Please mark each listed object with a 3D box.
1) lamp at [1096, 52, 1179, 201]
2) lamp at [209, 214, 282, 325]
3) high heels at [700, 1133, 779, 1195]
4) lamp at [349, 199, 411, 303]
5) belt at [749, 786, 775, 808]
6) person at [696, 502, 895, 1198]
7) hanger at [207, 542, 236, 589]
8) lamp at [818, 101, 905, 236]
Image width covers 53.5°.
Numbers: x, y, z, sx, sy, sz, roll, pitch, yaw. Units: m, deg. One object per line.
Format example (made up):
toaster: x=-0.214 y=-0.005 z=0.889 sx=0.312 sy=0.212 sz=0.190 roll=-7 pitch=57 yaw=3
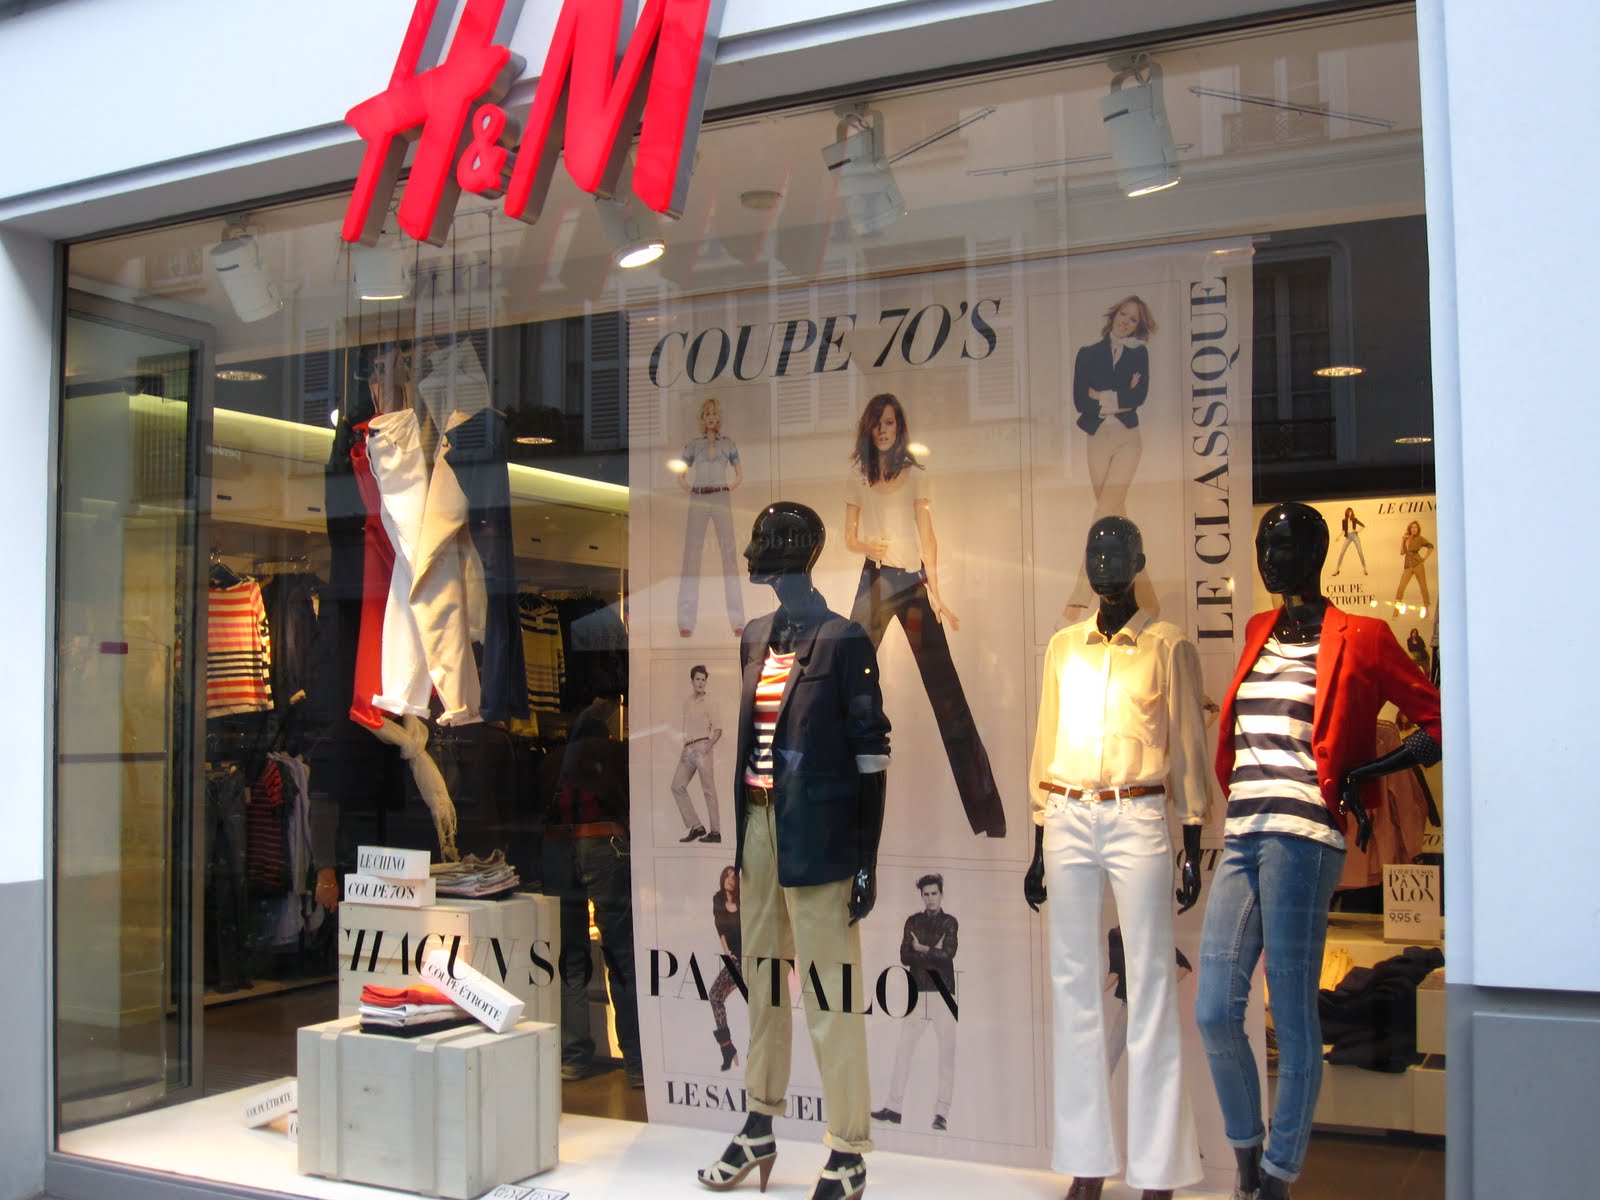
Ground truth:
lamp: x=0.848 y=-1.188 z=3.902 sx=0.146 sy=0.365 sz=0.159 roll=-12 pitch=8 yaw=-36
lamp: x=-1.671 y=-1.013 z=4.791 sx=0.204 sy=0.277 sz=0.158 roll=-15 pitch=22 yaw=36
high heels: x=-0.154 y=1.506 z=4.225 sx=0.192 sy=0.145 sz=0.114 roll=-1 pitch=-16 yaw=11
lamp: x=-1.199 y=-1.013 z=4.588 sx=0.191 sy=0.222 sz=0.210 roll=0 pitch=-10 yaw=-10
belt: x=-0.096 y=0.522 z=4.218 sx=0.054 sy=0.033 sz=0.073 roll=0 pitch=2 yaw=4
person: x=-0.009 y=0.646 z=4.226 sx=0.505 sy=1.831 sz=0.130 roll=-2 pitch=-3 yaw=23
hanger: x=-1.802 y=-0.102 z=4.930 sx=0.109 sy=0.127 sz=0.027 roll=-3 pitch=-3 yaw=27
lamp: x=0.165 y=-1.105 z=4.098 sx=0.181 sy=0.308 sz=0.093 roll=-3 pitch=-3 yaw=29
